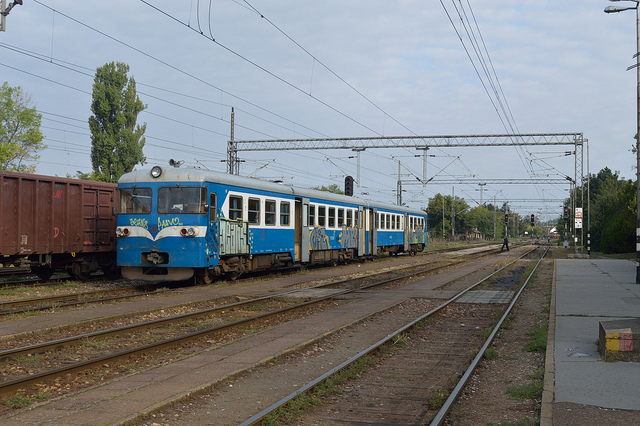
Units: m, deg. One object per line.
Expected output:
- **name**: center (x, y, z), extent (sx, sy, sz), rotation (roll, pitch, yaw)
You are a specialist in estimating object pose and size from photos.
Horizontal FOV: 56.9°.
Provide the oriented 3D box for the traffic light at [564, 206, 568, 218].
- **traffic light**: center (19.396, -0.054, 46.760), extent (0.239, 0.780, 0.969), rotation (-2, -4, 17)
